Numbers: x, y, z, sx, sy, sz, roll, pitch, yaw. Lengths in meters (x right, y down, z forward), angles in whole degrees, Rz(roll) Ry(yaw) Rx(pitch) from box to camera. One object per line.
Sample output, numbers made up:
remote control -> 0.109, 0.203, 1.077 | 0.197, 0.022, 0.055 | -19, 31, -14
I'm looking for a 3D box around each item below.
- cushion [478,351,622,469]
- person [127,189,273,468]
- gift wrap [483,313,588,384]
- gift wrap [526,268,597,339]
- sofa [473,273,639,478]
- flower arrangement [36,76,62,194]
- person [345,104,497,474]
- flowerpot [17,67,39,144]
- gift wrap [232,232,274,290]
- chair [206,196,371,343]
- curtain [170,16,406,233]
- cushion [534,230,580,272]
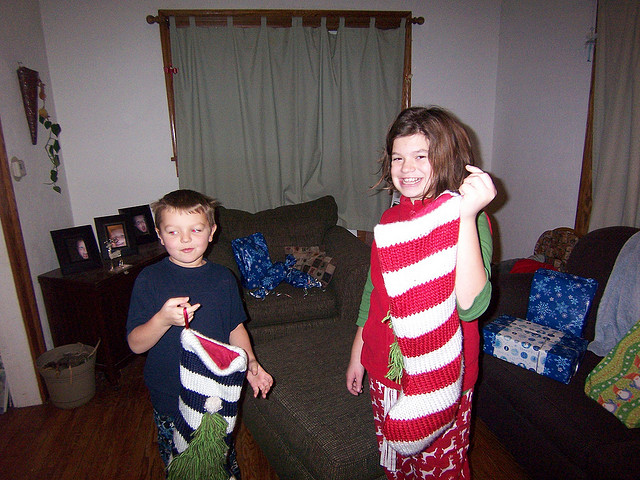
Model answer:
cushion -> 1.192, 0.813, 2.383 | 0.451, 0.122, 0.469 | -21, 36, -38
person -> -0.542, 0.616, 2.220 | 0.564, 1.662, 0.571 | -7, 22, -21
gift wrap -> 1.149, 0.562, 2.573 | 0.406, 0.132, 0.295 | 21, 33, 34
gift wrap -> 1.409, 0.390, 2.768 | 0.226, 0.354, 0.316 | -7, 19, -36
sofa -> 1.100, 0.626, 2.466 | 0.665, 0.841, 1.189 | 6, 13, 13
flower arrangement -> -1.936, -0.764, 3.413 | 0.167, 0.602, 0.138 | 3, 28, -6
person -> 0.388, 0.235, 1.960 | 0.558, 1.475, 0.652 | -7, 18, -9
flowerpot -> -1.946, -0.914, 3.212 | 0.128, 0.485, 0.129 | 1, 11, 4
gift wrap -> -0.491, 0.180, 3.476 | 0.292, 0.120, 0.412 | -8, 64, -30
chair -> -0.322, 0.237, 3.526 | 1.141, 0.902, 0.834 | -6, 23, -22
curtain -> -0.240, -0.894, 3.901 | 1.859, 1.813, 0.258 | -6, 17, -4
cushion -> 1.635, 0.055, 3.344 | 0.191, 0.270, 0.304 | 5, 13, 13
